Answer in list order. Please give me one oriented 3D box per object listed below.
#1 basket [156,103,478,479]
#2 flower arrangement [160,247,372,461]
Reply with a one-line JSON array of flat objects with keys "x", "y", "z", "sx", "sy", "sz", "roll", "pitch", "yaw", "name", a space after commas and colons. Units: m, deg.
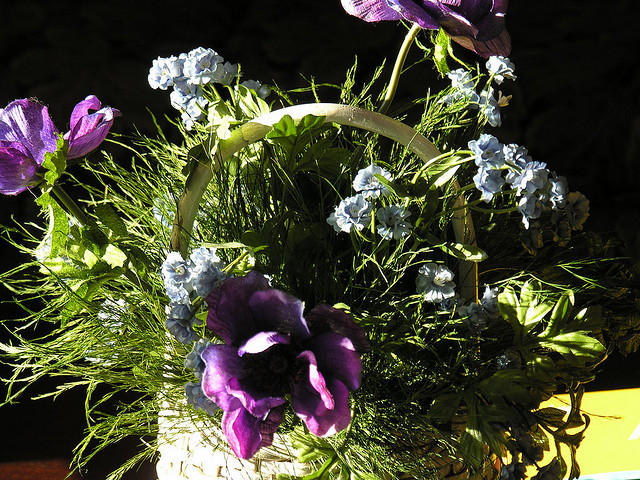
[{"x": 0.021, "y": 0.060, "z": 0.738, "sx": 0.331, "sy": 0.367, "sz": 0.327, "roll": 5, "pitch": 0, "yaw": -22, "name": "basket"}, {"x": -0.038, "y": 0.073, "z": 0.587, "sx": 0.185, "sy": 0.143, "sz": 0.079, "roll": 55, "pitch": 15, "yaw": 6, "name": "flower arrangement"}]
